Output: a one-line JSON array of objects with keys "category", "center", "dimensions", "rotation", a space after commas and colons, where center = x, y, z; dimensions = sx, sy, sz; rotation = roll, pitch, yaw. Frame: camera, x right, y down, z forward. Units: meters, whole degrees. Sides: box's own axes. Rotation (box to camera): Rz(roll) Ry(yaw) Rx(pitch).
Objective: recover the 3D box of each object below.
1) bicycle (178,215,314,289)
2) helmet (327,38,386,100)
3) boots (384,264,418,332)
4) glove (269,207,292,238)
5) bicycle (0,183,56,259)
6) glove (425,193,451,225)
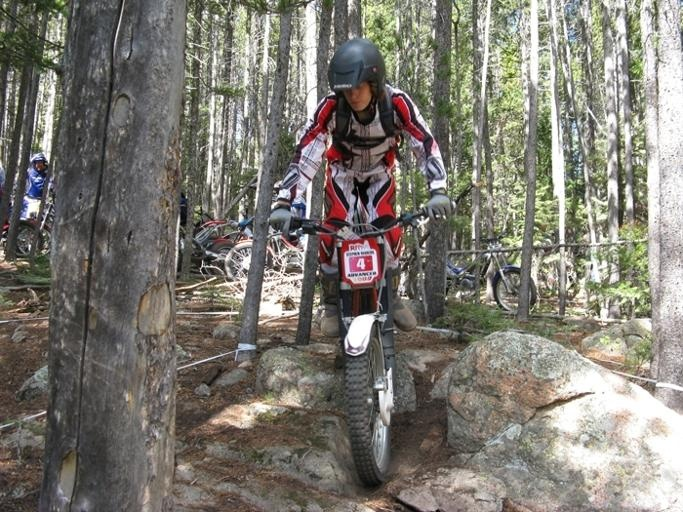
[{"category": "bicycle", "center": [-1.846, -0.056, 12.574], "dimensions": [2.125, 1.793, 1.529], "rotation": [6, -2, 9]}, {"category": "helmet", "center": [0.124, -1.526, 5.435], "dimensions": [0.304, 0.433, 0.492], "rotation": [5, 29, 20]}, {"category": "boots", "center": [0.566, 0.395, 5.931], "dimensions": [0.204, 0.565, 0.669], "rotation": [-24, 4, 9]}, {"category": "glove", "center": [-0.493, -0.265, 5.519], "dimensions": [0.132, 0.228, 0.205], "rotation": [0, -11, 4]}, {"category": "bicycle", "center": [-6.261, -0.685, 13.444], "dimensions": [0.832, 1.527, 2.842], "rotation": [4, -2, -26]}, {"category": "glove", "center": [0.792, -0.384, 5.466], "dimensions": [0.251, 0.239, 0.170], "rotation": [4, -2, -13]}]
